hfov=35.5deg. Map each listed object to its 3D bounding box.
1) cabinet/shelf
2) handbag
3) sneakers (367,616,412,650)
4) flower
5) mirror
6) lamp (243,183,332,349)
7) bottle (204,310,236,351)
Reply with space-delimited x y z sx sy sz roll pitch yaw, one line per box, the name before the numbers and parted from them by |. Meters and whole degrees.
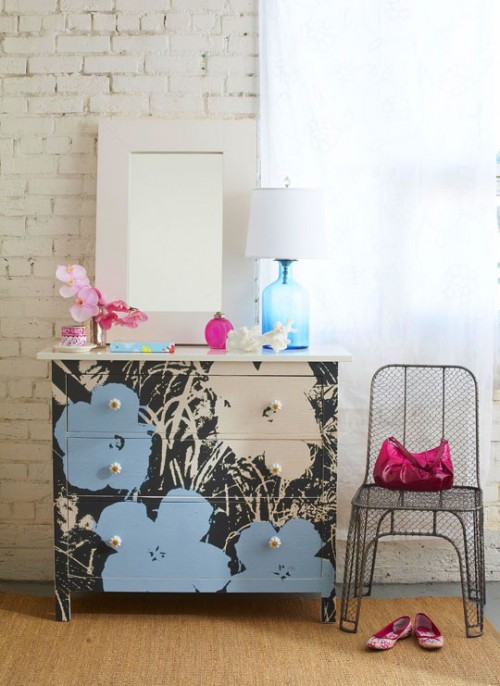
cabinet/shelf | -0.168 0.433 2.414 1.014 0.792 0.399 0 -1 1
handbag | 0.533 0.385 2.496 0.255 0.154 0.203 -2 7 15
sneakers | 0.422 0.881 2.384 0.058 0.048 0.168 3 -1 37
flower | -0.492 -0.150 2.647 0.280 0.243 0.335 -1 11 -8
mirror | -0.271 -0.398 2.745 0.628 0.780 0.035 14 17 35
lamp | 0.109 -0.245 2.551 0.245 0.518 0.285 -3 12 -18
bottle | -0.105 -0.040 2.568 0.135 0.160 0.092 2 10 11
